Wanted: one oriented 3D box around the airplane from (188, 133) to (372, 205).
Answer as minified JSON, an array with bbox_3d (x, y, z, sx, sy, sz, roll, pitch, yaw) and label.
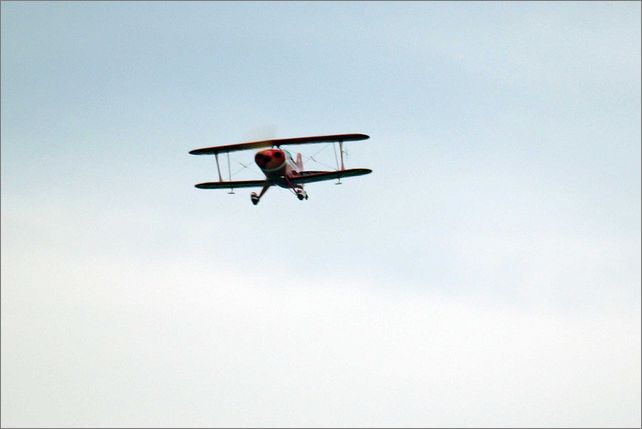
[{"bbox_3d":[-2.908,-3.701,58.878,8.179,3.169,6.184,-5,-19,11],"label":"airplane"}]
